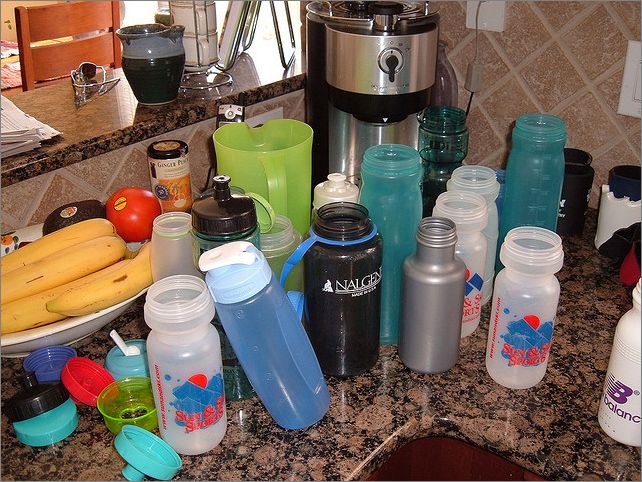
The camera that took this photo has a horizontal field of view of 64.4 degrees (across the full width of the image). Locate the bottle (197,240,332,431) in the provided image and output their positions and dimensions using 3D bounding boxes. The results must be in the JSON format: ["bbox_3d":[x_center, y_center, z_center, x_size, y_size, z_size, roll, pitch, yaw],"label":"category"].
[{"bbox_3d":[-0.081,0.156,0.794,0.114,0.307,0.111,-17,19,6],"label":"bottle"}]

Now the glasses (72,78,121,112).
[{"bbox_3d":[-0.534,-0.345,1.251,0.107,0.035,0.109,-10,35,-8],"label":"glasses"}]

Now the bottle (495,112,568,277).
[{"bbox_3d":[0.453,-0.095,1.153,0.141,0.481,0.146,-7,55,10],"label":"bottle"}]

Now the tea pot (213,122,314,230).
[{"bbox_3d":[-0.120,-0.148,1.125,0.172,0.279,0.276,-5,36,-13],"label":"tea pot"}]

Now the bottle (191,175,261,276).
[{"bbox_3d":[-0.151,-0.023,0.808,0.107,0.158,0.110,0,30,0],"label":"bottle"}]

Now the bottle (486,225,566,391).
[{"bbox_3d":[0.341,0.112,0.848,0.108,0.250,0.127,15,34,26],"label":"bottle"}]

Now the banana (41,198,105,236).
[{"bbox_3d":[-0.493,-0.053,1.026,0.099,0.058,0.071,-13,12,-11],"label":"banana"}]

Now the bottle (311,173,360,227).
[{"bbox_3d":[0.017,-0.085,0.977,0.078,0.128,0.081,0,30,0],"label":"bottle"}]

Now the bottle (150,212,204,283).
[{"bbox_3d":[-0.237,0.011,0.844,0.073,0.112,0.070,-1,27,1],"label":"bottle"}]

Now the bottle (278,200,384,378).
[{"bbox_3d":[0.021,0.088,0.872,0.167,0.279,0.144,-14,26,-28],"label":"bottle"}]

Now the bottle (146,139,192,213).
[{"bbox_3d":[-0.340,-0.142,1.142,0.088,0.153,0.089,3,32,-2],"label":"bottle"}]

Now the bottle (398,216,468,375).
[{"bbox_3d":[0.185,0.092,0.841,0.126,0.310,0.128,-2,32,1],"label":"bottle"}]
